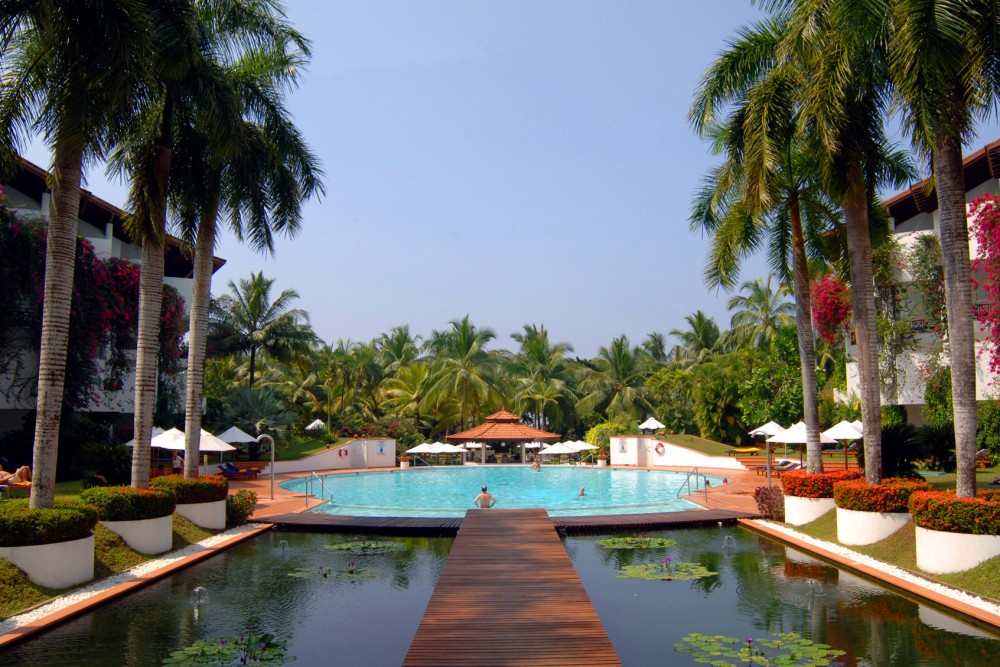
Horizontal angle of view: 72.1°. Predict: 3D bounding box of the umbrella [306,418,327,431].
[{"bbox_3d":[-13.040,6.565,49.240,1.273,0.706,1.673,1,-1,-5],"label":"umbrella"}]
